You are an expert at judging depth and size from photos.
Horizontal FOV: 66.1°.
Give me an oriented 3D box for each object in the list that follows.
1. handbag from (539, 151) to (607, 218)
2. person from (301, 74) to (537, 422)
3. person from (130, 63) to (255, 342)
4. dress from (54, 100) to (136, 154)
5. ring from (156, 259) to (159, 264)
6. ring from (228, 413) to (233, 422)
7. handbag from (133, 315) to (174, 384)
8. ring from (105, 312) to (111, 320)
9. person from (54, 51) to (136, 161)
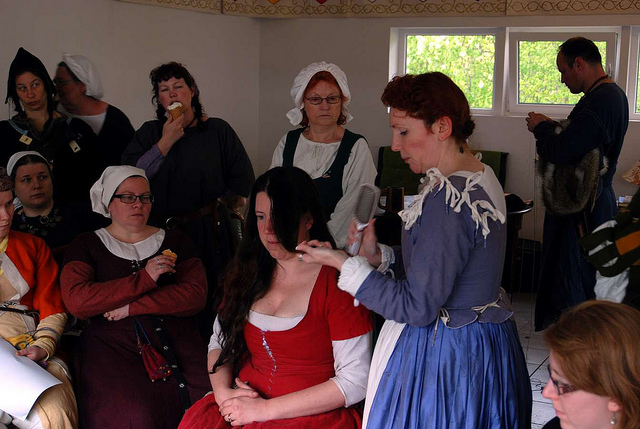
[{"bbox_3d":[1.753,-0.202,3.481,0.359,0.476,0.183,1,7,35],"label":"handbag"},{"bbox_3d":[0.609,0.033,2.743,1.159,2.239,1.034,4,9,27],"label":"person"},{"bbox_3d":[-0.935,0.152,3.445,0.886,2.283,0.704,-4,16,-17],"label":"person"},{"bbox_3d":[-1.706,-0.685,3.757,0.333,0.346,0.409,9,20,19],"label":"dress"},{"bbox_3d":[-0.854,0.247,2.590,0.014,0.015,0.012,1,-3,-12],"label":"ring"},{"bbox_3d":[-0.368,0.834,2.017,0.008,0.018,0.021,-18,38,-26],"label":"ring"},{"bbox_3d":[-0.869,0.679,2.520,0.139,0.313,0.066,-25,0,1],"label":"handbag"},{"bbox_3d":[-1.106,0.530,2.571,0.015,0.045,0.017,-15,4,0],"label":"ring"},{"bbox_3d":[-1.693,-0.780,3.653,0.406,0.694,0.804,0,12,-6],"label":"person"}]
